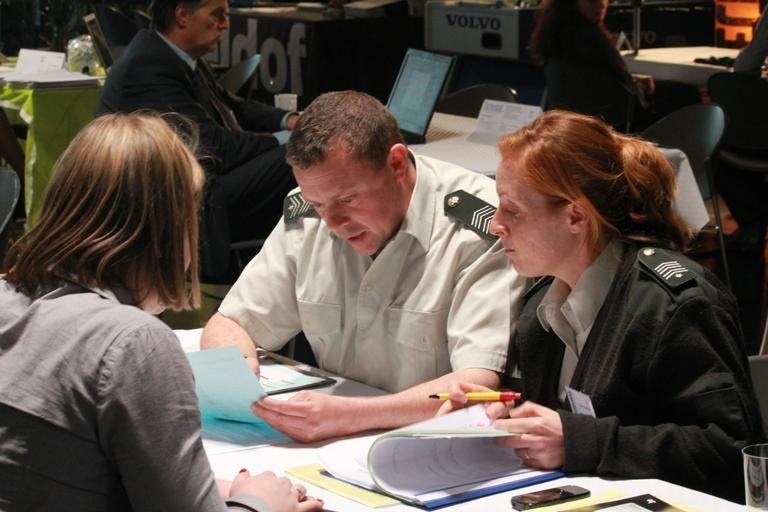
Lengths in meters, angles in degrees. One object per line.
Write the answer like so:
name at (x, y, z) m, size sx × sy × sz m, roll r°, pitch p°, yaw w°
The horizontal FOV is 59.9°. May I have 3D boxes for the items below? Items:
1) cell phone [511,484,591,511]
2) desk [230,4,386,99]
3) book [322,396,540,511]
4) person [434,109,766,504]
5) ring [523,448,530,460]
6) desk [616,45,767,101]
cell phone at (0.370, 0.523, 1.462) m, size 0.132 × 0.014 × 0.062 m, roll -6°, pitch 7°, yaw -26°
desk at (-0.652, -2.239, 7.083) m, size 1.677 × 0.832 × 1.155 m, roll 17°, pitch 30°, yaw 29°
book at (0.106, 0.453, 1.564) m, size 0.528 × 0.179 × 0.249 m, roll 8°, pitch 16°, yaw 14°
person at (0.391, 0.163, 1.982) m, size 0.883 × 1.011 × 1.048 m, roll -1°, pitch 4°, yaw -5°
ring at (0.343, 0.474, 1.602) m, size 0.019 × 0.023 × 0.009 m, roll 1°, pitch 22°, yaw 15°
desk at (1.777, -1.132, 3.924) m, size 0.696 × 0.234 × 0.238 m, roll 0°, pitch 16°, yaw -16°
